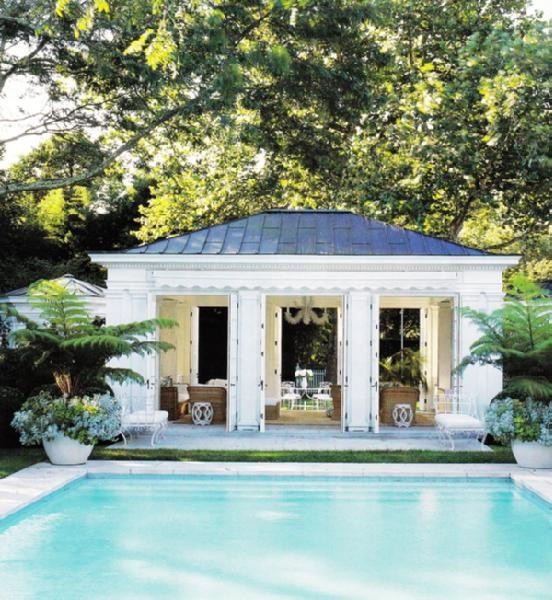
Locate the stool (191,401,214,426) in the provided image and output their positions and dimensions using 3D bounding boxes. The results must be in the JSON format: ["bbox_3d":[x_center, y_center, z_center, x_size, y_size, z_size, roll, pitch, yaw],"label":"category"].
[{"bbox_3d":[-1.813,2.746,17.077,0.495,0.484,0.498,-2,-5,17],"label":"stool"}]

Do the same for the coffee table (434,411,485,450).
[{"bbox_3d":[3.692,2.650,14.334,0.940,0.742,2.111,2,3,15],"label":"coffee table"}]

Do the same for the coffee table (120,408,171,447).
[{"bbox_3d":[-2.656,2.566,14.255,0.873,0.692,1.621,1,3,-9],"label":"coffee table"}]

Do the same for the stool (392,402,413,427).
[{"bbox_3d":[2.945,2.677,16.495,0.508,0.498,0.530,1,3,8],"label":"stool"}]

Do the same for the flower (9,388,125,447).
[{"bbox_3d":[-3.440,2.040,12.143,1.382,0.798,1.197,8,2,11],"label":"flower"}]

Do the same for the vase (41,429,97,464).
[{"bbox_3d":[-3.537,2.433,11.900,0.606,0.413,0.605,-3,-10,30],"label":"vase"}]
